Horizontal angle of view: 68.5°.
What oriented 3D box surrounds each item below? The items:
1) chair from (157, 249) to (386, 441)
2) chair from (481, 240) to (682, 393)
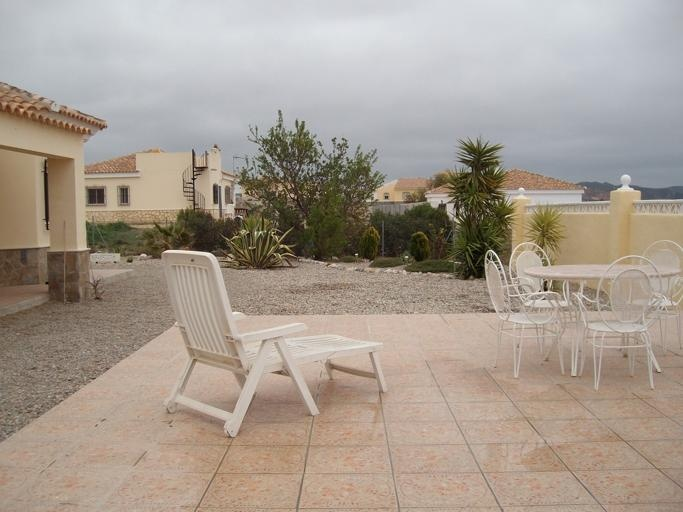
[{"bbox_3d":[-0.561,0.677,4.507,1.823,1.368,1.144,1,-2,-44],"label":"chair"},{"bbox_3d":[2.464,0.497,6.158,1.166,1.238,3.128,-2,3,19],"label":"chair"}]
